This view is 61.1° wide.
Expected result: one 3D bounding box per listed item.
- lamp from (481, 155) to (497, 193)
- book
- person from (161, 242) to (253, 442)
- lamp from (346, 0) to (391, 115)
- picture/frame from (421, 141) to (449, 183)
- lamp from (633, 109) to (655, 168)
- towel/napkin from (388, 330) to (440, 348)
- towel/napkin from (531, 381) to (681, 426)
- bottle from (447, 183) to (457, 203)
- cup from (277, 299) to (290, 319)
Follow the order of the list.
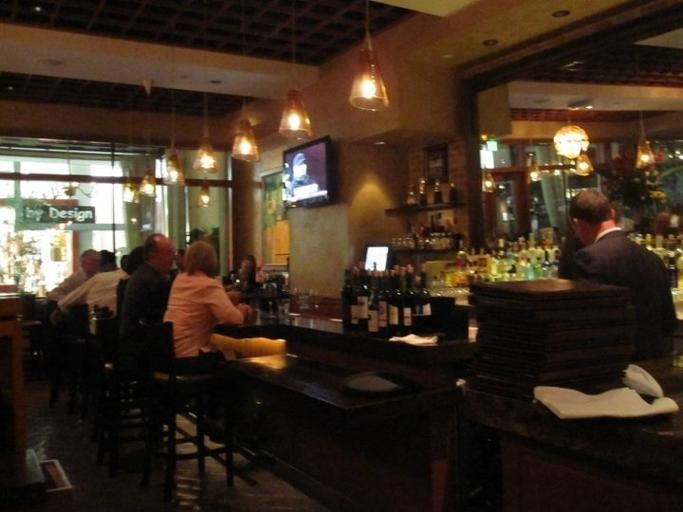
[{"bbox_3d":[1.510,-0.858,5.918,0.144,0.308,0.083,-4,2,27],"label":"lamp"},{"bbox_3d":[0.633,0.182,1.762,0.469,0.291,0.351,-1,2,-34],"label":"book"},{"bbox_3d":[-0.933,0.432,4.369,0.754,1.020,0.508,-5,15,-35],"label":"person"},{"bbox_3d":[0.156,-1.341,3.753,0.237,0.611,0.341,-5,2,3],"label":"lamp"},{"bbox_3d":[1.050,-1.060,6.420,0.117,0.512,0.503,-3,5,-24],"label":"picture/frame"},{"bbox_3d":[2.477,-0.969,4.746,0.117,0.491,0.233,-4,2,18],"label":"lamp"},{"bbox_3d":[0.398,0.457,3.169,0.268,0.050,0.229,-3,2,10],"label":"towel/napkin"},{"bbox_3d":[0.696,0.390,1.523,0.269,0.053,0.135,-6,-8,4],"label":"towel/napkin"},{"bbox_3d":[1.192,-0.688,6.132,0.100,0.173,0.167,-5,2,1],"label":"bottle"},{"bbox_3d":[-0.479,0.436,4.826,0.137,0.212,0.126,-1,-3,0],"label":"cup"}]
